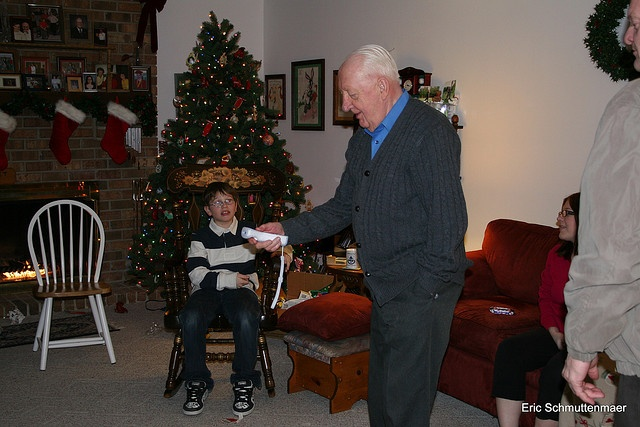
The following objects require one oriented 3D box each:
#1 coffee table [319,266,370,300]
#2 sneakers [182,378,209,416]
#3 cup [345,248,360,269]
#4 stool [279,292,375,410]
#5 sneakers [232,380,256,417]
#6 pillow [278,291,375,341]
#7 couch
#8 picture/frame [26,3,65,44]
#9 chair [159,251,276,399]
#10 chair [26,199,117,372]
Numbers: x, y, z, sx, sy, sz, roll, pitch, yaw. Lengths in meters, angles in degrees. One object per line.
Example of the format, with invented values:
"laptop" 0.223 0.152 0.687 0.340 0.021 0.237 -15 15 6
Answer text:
"coffee table" 0.231 0.558 3.971 0.464 0.227 0.359 0 12 -18
"sneakers" -0.773 1.137 2.948 0.143 0.199 0.118 -3 11 -17
"cup" 0.257 0.371 3.862 0.177 0.198 0.179 0 -1 0
"stool" 0.129 0.907 3.236 0.617 0.610 0.630 -4 1 -33
"sneakers" -0.469 1.125 2.905 0.092 0.098 0.243 0 1 -2
"pillow" 0.068 0.688 3.242 0.677 0.220 0.651 -1 -1 43
"couch" 1.330 0.650 3.300 1.089 1.013 1.120 6 2 -32
"picture/frame" -2.575 -1.786 4.441 0.394 0.426 0.045 -4 7 -31
"chair" -0.731 0.733 3.416 0.800 1.394 0.918 1 1 -6
"chair" -2.111 0.423 4.015 0.618 1.219 1.660 -5 12 -27
